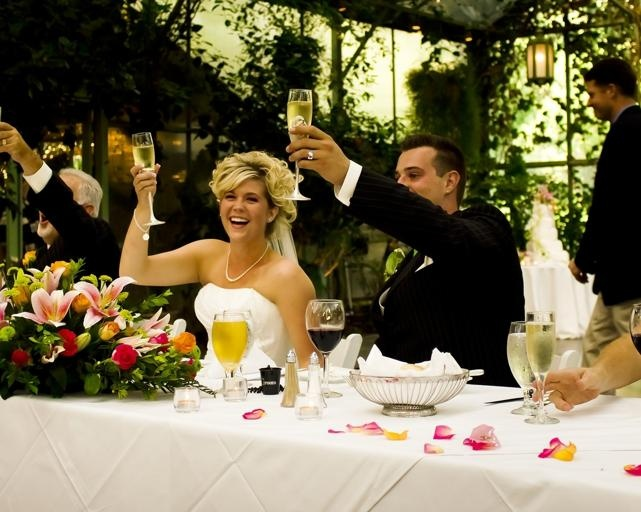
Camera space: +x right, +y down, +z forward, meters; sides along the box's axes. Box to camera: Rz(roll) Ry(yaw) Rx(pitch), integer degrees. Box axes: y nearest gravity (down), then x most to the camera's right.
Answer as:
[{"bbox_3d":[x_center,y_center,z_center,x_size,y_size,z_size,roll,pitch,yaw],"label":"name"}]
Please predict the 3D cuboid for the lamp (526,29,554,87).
[{"bbox_3d":[3.054,-2.718,10.334,0.468,0.997,0.505,0,5,11],"label":"lamp"}]

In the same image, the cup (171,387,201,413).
[{"bbox_3d":[-0.375,0.403,2.096,0.061,0.060,0.066,0,-2,0],"label":"cup"}]

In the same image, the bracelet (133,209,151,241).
[{"bbox_3d":[-0.776,-0.137,3.236,0.056,0.117,0.077,-11,1,20],"label":"bracelet"}]

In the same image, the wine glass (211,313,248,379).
[{"bbox_3d":[-0.286,0.278,2.367,0.116,0.216,0.203,0,2,-7],"label":"wine glass"}]

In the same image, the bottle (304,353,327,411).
[{"bbox_3d":[-0.014,0.347,2.121,0.068,0.155,0.068,-2,15,1],"label":"bottle"}]

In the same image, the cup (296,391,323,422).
[{"bbox_3d":[-0.033,0.403,2.003,0.058,0.051,0.064,0,-7,0],"label":"cup"}]

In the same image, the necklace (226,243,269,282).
[{"bbox_3d":[-0.367,0.054,3.777,0.142,0.238,0.052,33,11,35],"label":"necklace"}]

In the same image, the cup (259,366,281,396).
[{"bbox_3d":[-0.161,0.399,2.381,0.061,0.075,0.072,-1,-15,-2],"label":"cup"}]

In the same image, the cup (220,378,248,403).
[{"bbox_3d":[-0.269,0.409,2.260,0.058,0.059,0.064,-1,-10,0],"label":"cup"}]
